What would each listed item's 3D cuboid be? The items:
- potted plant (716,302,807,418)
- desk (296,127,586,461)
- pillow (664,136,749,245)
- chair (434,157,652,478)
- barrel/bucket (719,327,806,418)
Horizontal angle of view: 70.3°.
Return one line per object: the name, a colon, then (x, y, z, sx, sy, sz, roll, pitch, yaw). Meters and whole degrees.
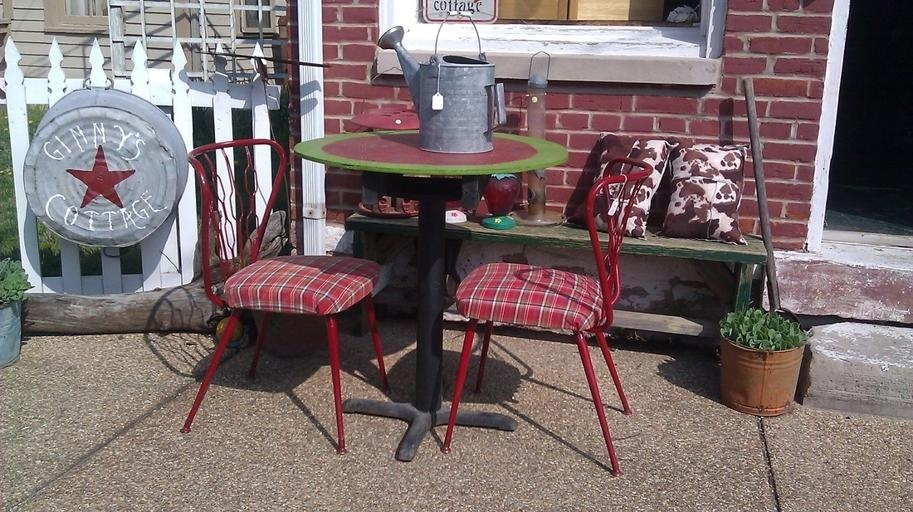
potted plant: (1.932, 0.673, 4.158, 0.536, 0.535, 0.513, 9, 19, 32)
desk: (-0.172, 0.237, 3.943, 1.665, 1.545, 1.667, -2, -2, 28)
pillow: (1.692, -0.444, 4.378, 0.759, 0.762, 0.344, 4, -7, 9)
chair: (0.596, 0.202, 4.045, 1.123, 1.677, 1.321, 5, 18, 8)
barrel/bucket: (1.833, 0.730, 4.177, 0.520, 0.490, 0.498, -1, 7, 0)
